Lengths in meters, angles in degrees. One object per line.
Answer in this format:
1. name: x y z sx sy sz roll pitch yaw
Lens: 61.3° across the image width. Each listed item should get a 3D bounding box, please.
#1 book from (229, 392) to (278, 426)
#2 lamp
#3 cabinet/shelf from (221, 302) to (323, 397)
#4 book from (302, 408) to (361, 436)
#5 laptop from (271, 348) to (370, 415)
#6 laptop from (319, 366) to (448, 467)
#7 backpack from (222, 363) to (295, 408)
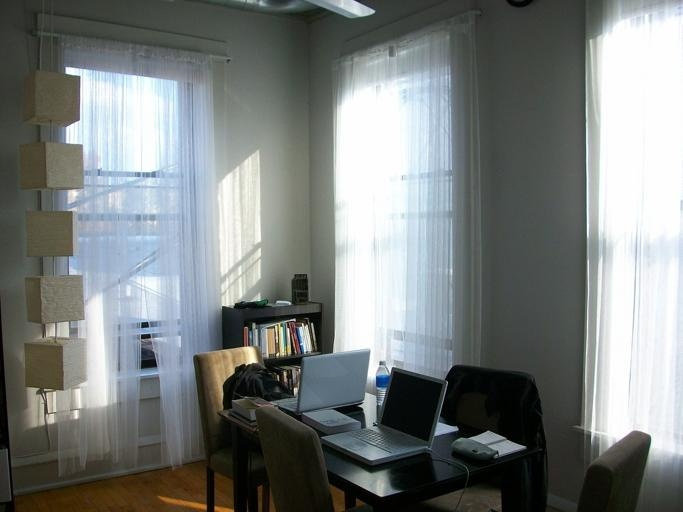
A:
1. book: -0.533 0.886 3.504 0.217 0.071 0.214 -1 6 -44
2. lamp: -2.123 -0.187 4.256 0.409 2.252 0.575 -2 3 -45
3. cabinet/shelf: -0.592 0.743 4.612 0.256 0.825 0.783 0 0 45
4. book: -0.067 0.932 3.221 0.163 0.041 0.152 8 4 43
5. laptop: -0.094 0.684 3.532 0.403 0.319 0.417 1 0 -33
6. laptop: 0.243 0.878 3.057 0.467 0.354 0.469 3 0 -34
7. backpack: -0.582 0.865 3.872 0.352 0.166 0.303 11 10 -6
